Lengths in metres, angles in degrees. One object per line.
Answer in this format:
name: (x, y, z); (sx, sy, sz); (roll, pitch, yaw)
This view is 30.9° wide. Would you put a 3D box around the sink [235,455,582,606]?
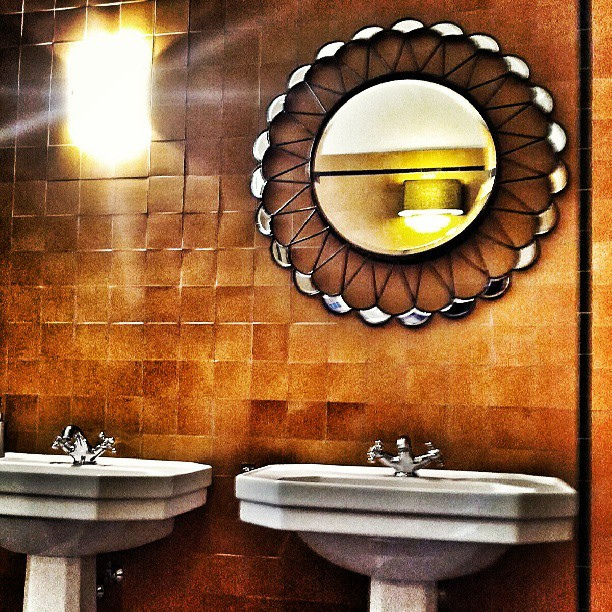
sink: (0.301, 0.659, 3.309); (0.983, 0.458, 0.556); (-3, -14, 13)
